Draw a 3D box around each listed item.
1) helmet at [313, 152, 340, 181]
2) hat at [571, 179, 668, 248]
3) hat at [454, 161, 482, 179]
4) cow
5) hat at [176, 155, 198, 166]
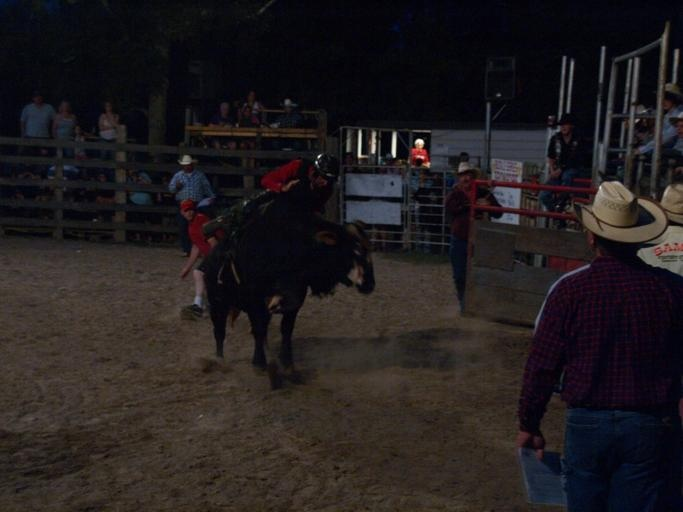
[{"bbox_3d":[-0.138,-0.942,8.265,0.257,0.263,0.286,-12,36,-42],"label":"helmet"},{"bbox_3d":[1.746,-0.327,5.003,0.583,0.211,0.607,-30,36,-33],"label":"hat"},{"bbox_3d":[1.765,-1.179,10.890,0.313,0.107,0.258,4,-4,-36],"label":"hat"},{"bbox_3d":[-0.623,0.355,8.416,2.400,1.702,0.859,-1,-8,43],"label":"cow"},{"bbox_3d":[-2.880,-1.745,14.755,0.444,0.198,0.500,-8,5,3],"label":"hat"}]
